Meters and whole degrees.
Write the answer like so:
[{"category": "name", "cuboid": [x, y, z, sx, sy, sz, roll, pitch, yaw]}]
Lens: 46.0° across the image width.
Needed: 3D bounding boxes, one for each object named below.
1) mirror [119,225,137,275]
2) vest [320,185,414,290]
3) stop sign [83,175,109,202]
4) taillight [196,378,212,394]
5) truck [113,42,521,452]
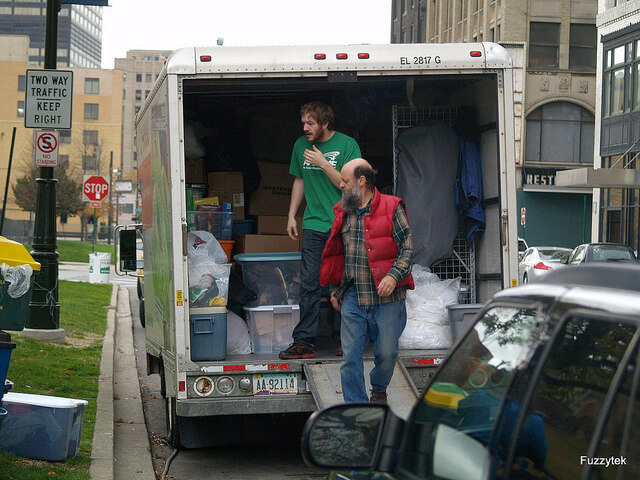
[{"category": "mirror", "cuboid": [-2.471, 0.133, 9.697, 0.228, 0.646, 0.063, 0, 15, -13]}, {"category": "vest", "cuboid": [0.358, -0.017, 5.976, 0.767, 0.767, 0.471, 1, 4, 36]}, {"category": "stop sign", "cuboid": [-6.447, -1.500, 21.697, 0.723, 0.754, 0.795, 1, 2, -7]}, {"category": "taillight", "cuboid": [-0.912, 1.138, 5.895, 0.102, 0.113, 0.025, 18, 0, -4]}, {"category": "truck", "cuboid": [-0.246, 0.031, 8.438, 2.914, 2.915, 4.991, 0, 0, -10]}]
